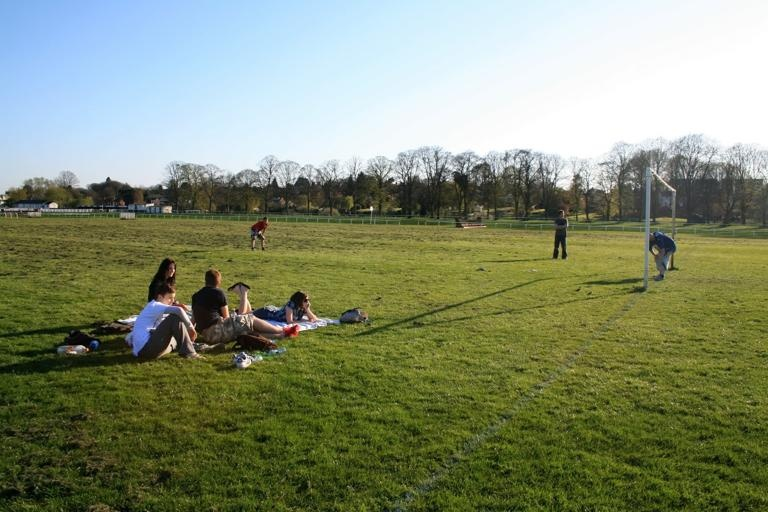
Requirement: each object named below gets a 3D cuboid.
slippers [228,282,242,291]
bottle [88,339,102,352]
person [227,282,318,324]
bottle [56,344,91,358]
[{"bbox_3d":[-4.401,0.877,16.992,0.202,0.172,0.758,-22,-6,-27],"label":"slippers"},{"bbox_3d":[-6.643,2.016,13.247,0.244,0.189,0.348,-3,11,-26],"label":"bottle"},{"bbox_3d":[-3.100,1.298,15.562,2.513,1.017,0.768,4,-5,9],"label":"person"},{"bbox_3d":[-7.000,2.102,12.954,0.422,0.161,0.312,9,-1,-16],"label":"bottle"}]
